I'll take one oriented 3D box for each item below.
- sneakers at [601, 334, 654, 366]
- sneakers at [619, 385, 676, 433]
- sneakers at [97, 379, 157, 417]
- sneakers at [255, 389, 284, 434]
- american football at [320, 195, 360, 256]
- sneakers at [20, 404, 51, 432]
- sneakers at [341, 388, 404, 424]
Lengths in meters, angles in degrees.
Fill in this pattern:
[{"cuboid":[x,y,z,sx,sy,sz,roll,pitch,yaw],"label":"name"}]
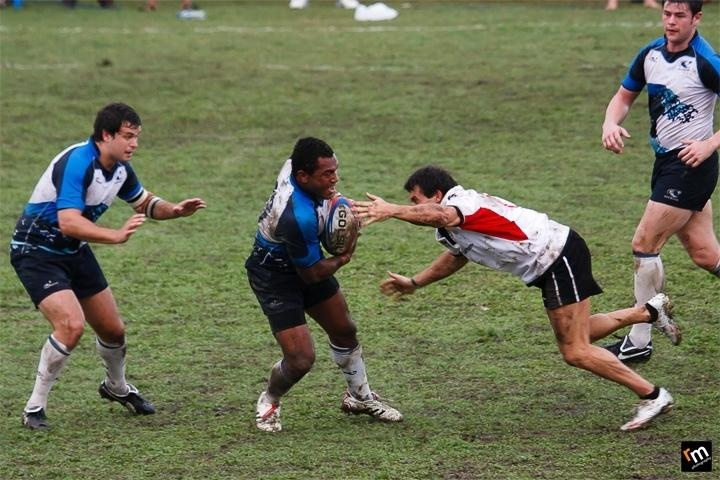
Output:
[{"cuboid":[2.675,1.083,10.251,0.676,0.247,0.212,5,10,4],"label":"sneakers"},{"cuboid":[2.569,1.518,9.343,0.560,0.202,0.190,-25,7,-21],"label":"sneakers"},{"cuboid":[-2.155,1.520,9.788,0.676,0.231,0.216,23,31,-12],"label":"sneakers"},{"cuboid":[-0.847,1.605,9.668,0.281,0.218,0.509,10,21,-17],"label":"sneakers"},{"cuboid":[-0.167,-0.123,9.431,0.362,0.468,0.381,6,-9,-37],"label":"american football"},{"cuboid":[-2.979,1.645,9.561,0.161,0.107,0.288,3,0,-36],"label":"sneakers"},{"cuboid":[0.134,1.562,9.792,0.708,0.246,0.221,12,-8,1],"label":"sneakers"}]
